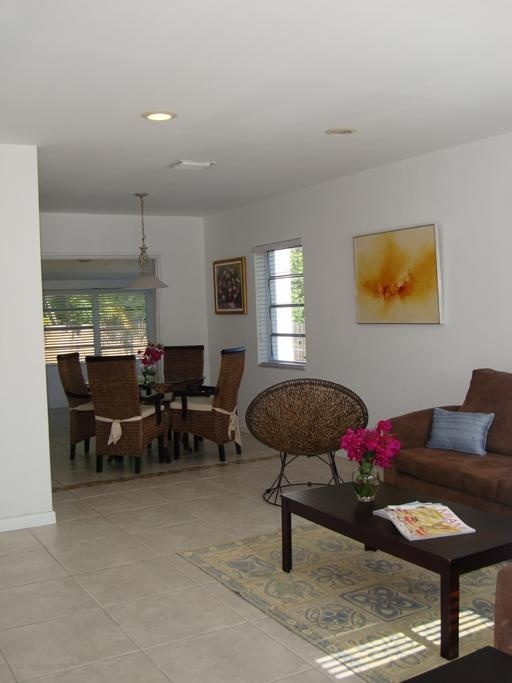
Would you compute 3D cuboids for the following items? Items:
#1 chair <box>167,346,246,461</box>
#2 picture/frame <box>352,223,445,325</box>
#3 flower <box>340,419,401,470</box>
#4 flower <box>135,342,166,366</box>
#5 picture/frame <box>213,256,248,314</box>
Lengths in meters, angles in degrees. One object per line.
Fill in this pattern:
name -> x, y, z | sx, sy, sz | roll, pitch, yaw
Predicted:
chair -> -0.456, 0.638, 5.472 | 0.720, 1.096, 0.495 | -3, -2, 31
picture/frame -> 1.196, -0.551, 4.589 | 0.100, 0.790, 0.984 | -8, 7, -29
flower -> 0.574, 0.512, 2.676 | 0.271, 0.239, 0.275 | 3, 4, -4
flower -> -1.150, 0.193, 5.859 | 0.299, 0.271, 0.273 | -3, 33, -3
picture/frame -> -0.298, -0.724, 6.791 | 0.063, 0.777, 0.831 | 2, -2, -35
